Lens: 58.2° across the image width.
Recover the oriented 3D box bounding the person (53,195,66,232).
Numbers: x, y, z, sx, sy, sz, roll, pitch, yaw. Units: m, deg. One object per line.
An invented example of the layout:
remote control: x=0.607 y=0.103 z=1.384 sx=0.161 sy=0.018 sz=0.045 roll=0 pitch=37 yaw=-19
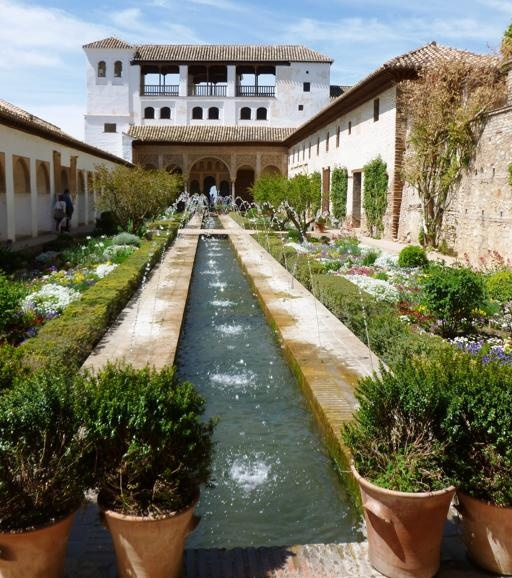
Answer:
person: x=-6.940 y=-2.669 z=16.266 sx=0.401 sy=1.309 sz=0.697 roll=4 pitch=11 yaw=-22
